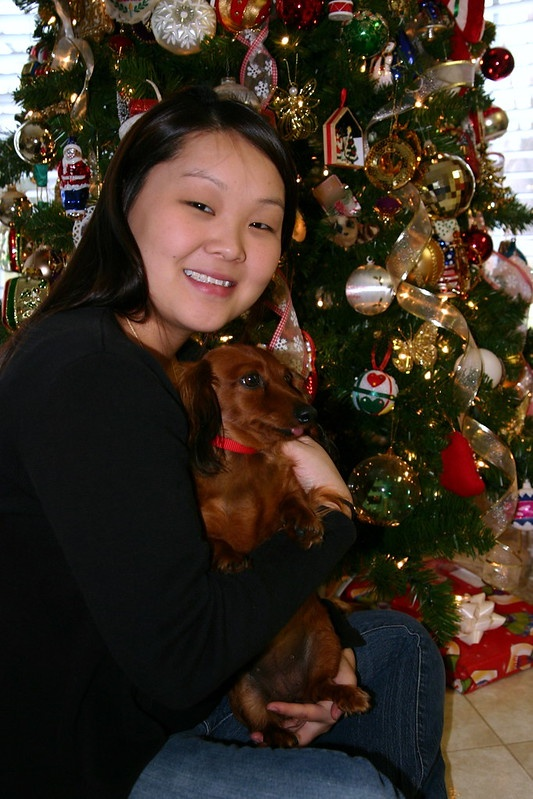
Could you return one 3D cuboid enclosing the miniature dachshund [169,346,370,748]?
[{"bbox_3d":[0.057,0.251,1.364,0.313,0.797,0.433,-8,12,-37],"label":"miniature dachshund"}]
